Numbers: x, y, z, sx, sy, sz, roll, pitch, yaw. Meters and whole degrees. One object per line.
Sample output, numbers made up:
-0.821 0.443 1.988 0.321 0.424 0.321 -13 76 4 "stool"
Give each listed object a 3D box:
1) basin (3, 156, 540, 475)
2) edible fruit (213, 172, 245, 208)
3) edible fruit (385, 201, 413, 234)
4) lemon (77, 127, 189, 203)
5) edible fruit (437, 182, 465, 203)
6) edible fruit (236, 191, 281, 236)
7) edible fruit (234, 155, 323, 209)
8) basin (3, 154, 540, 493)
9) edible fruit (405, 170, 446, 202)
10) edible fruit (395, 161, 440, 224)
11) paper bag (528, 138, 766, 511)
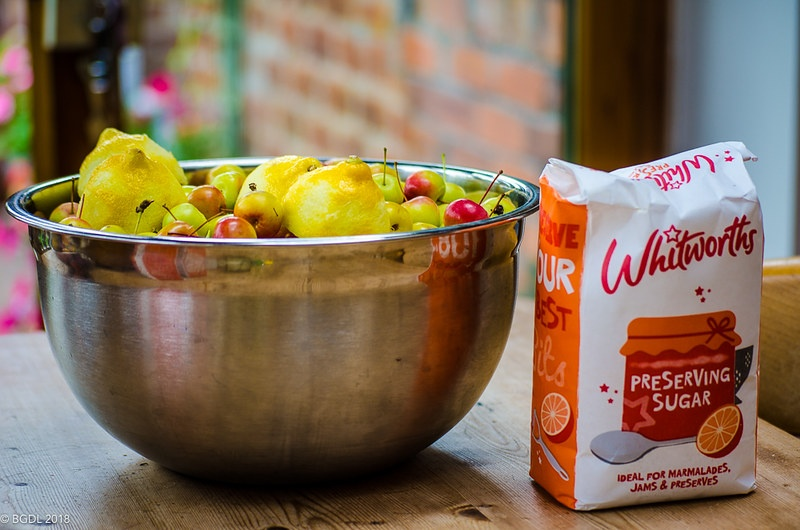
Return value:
-0.165 0.093 1.152 0.663 0.348 0.202 3 17 6 "basin"
-0.256 -0.128 1.337 0.039 0.040 0.036 -15 41 -19 "edible fruit"
0.000 -0.064 1.203 0.043 0.044 0.041 -4 -7 -40 "edible fruit"
-0.407 -0.128 1.349 0.160 0.059 0.128 12 -16 -37 "lemon"
0.081 -0.109 1.353 0.037 0.036 0.037 -10 -14 -15 "edible fruit"
-0.178 -0.066 1.157 0.060 0.060 0.058 1 -14 -7 "edible fruit"
-0.166 -0.124 1.294 0.092 0.105 0.087 20 7 -2 "edible fruit"
-0.160 0.098 0.968 0.471 0.216 0.457 0 1 0 "basin"
0.037 -0.118 1.325 0.052 0.049 0.048 -2 -3 -2 "edible fruit"
0.032 -0.107 1.287 0.079 0.087 0.070 -7 0 -26 "edible fruit"
0.317 0.076 1.118 0.272 0.440 0.159 0 18 -4 "paper bag"
